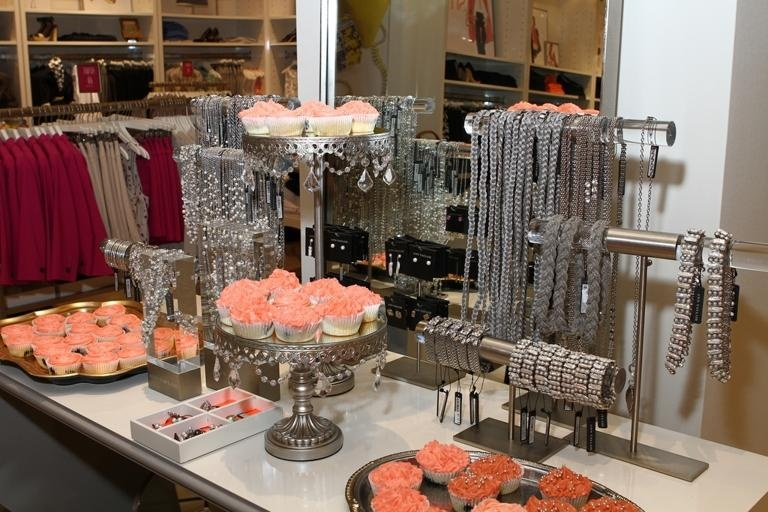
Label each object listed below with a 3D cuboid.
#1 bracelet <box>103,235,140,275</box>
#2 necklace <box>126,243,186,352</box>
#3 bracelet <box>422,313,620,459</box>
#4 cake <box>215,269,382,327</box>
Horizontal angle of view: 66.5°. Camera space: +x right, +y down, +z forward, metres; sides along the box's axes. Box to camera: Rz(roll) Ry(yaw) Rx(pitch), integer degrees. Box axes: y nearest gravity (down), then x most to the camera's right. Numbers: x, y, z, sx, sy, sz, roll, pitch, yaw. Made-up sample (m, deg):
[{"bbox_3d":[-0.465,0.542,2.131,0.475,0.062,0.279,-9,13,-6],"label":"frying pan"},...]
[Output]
[{"bbox_3d":[-1.064,-0.001,2.395,0.159,0.135,0.121,12,-2,28],"label":"bracelet"},{"bbox_3d":[-0.862,0.148,2.180,0.236,0.377,0.110,2,1,37],"label":"necklace"},{"bbox_3d":[0.424,0.424,1.892,0.642,0.403,0.231,7,17,27],"label":"bracelet"},{"bbox_3d":[-0.279,0.121,1.831,0.341,0.118,0.228,2,4,7],"label":"cake"}]
